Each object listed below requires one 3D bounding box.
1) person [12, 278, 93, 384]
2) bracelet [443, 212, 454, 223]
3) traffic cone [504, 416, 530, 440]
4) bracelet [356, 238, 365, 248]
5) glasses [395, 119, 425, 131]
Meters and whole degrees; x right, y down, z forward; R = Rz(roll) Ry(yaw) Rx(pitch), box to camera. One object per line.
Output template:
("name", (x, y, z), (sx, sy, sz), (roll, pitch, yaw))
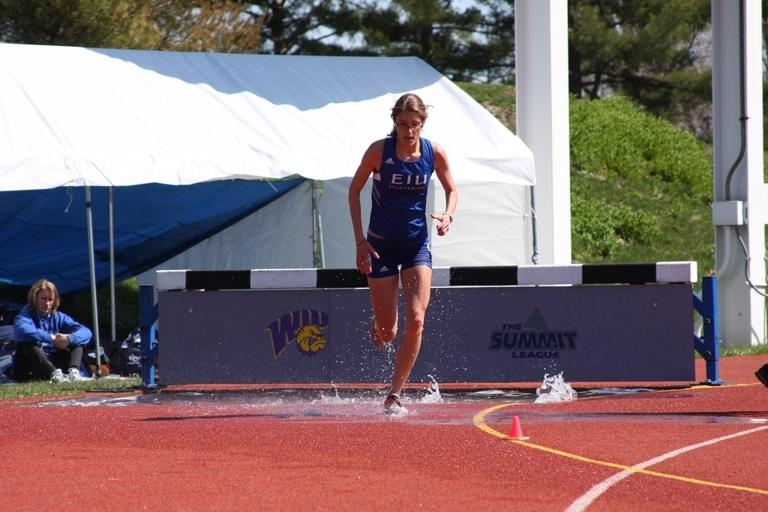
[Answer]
("person", (-4.806, 1.031, 21.064), (1.085, 1.375, 0.731), (-3, 3, -15))
("bracelet", (0.802, -0.479, 17.823), (0.096, 0.068, 0.128), (21, -15, 6))
("traffic cone", (1.540, 1.956, 17.067), (0.225, 0.236, 0.244), (-2, 2, 2))
("bracelet", (-0.270, -0.166, 17.797), (0.125, 0.102, 0.107), (-3, 3, -21))
("glasses", (0.312, -1.569, 17.750), (0.334, 0.126, 0.145), (-2, 3, -5))
